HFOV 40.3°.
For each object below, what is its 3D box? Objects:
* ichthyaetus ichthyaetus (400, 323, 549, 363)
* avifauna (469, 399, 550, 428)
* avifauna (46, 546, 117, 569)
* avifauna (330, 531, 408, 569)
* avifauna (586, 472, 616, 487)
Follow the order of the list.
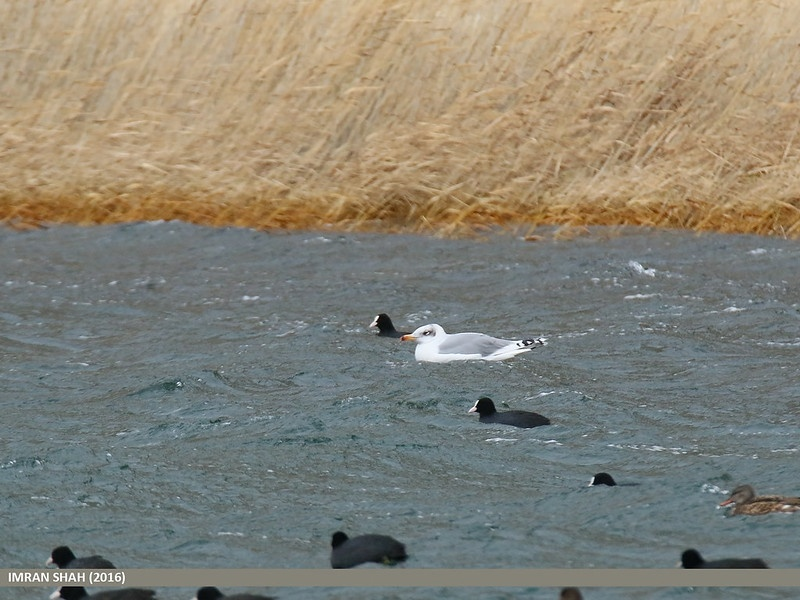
[{"bbox_3d":[0.781,0.499,12.208,1.591,0.366,0.613,1,19,6],"label":"ichthyaetus ichthyaetus"},{"bbox_3d":[1.015,1.095,10.737,0.772,0.206,0.389,11,21,36],"label":"avifauna"},{"bbox_3d":[-2.586,2.095,8.775,0.532,0.189,0.363,-4,18,-13],"label":"avifauna"},{"bbox_3d":[-0.272,2.031,8.766,0.597,0.220,0.270,-1,21,-3],"label":"avifauna"},{"bbox_3d":[1.803,1.593,9.693,0.225,0.108,0.207,10,21,29],"label":"avifauna"}]
